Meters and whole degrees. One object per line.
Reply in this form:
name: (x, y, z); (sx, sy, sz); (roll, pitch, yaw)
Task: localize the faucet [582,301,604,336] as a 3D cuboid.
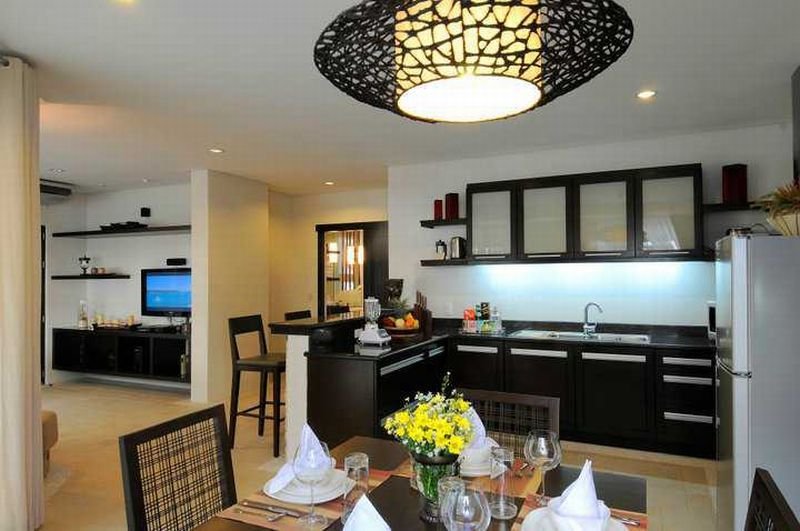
faucet: (2.086, 0.584, 5.984); (0.142, 0.357, 0.253); (4, 7, 44)

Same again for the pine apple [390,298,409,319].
pine apple: (-0.002, 0.429, 5.595); (0.184, 0.185, 0.177); (0, -6, -5)

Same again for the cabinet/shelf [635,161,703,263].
cabinet/shelf: (2.762, -0.577, 5.676); (0.582, 0.915, 0.355); (-3, 18, 21)

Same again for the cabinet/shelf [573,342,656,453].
cabinet/shelf: (2.304, 1.306, 5.811); (0.858, 1.013, 0.826); (-2, 2, 15)

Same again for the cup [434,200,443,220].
cup: (0.466, -0.659, 6.575); (0.108, 0.235, 0.163); (0, 5, 2)

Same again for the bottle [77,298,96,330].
bottle: (-4.835, 0.733, 8.485); (0.263, 0.395, 0.562); (-3, 5, -25)

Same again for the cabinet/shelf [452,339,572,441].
cabinet/shelf: (1.265, 1.270, 6.148); (1.356, 1.133, 0.461); (1, 17, 23)

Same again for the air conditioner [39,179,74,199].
air conditioner: (-5.027, -1.113, 8.110); (0.354, 0.229, 0.775); (-1, 4, -13)

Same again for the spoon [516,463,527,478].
spoon: (0.682, 1.146, 3.073); (0.026, 0.040, 0.112); (-8, 2, 26)

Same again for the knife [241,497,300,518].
knife: (-0.661, 1.244, 2.824); (0.328, 0.015, 0.054); (2, 3, 25)

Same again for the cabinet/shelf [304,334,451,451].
cabinet/shelf: (-0.172, 1.332, 5.562); (0.652, 1.256, 1.719); (14, 5, 28)

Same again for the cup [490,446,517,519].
cup: (0.528, 1.084, 2.791); (0.130, 0.340, 0.185); (0, 5, 10)

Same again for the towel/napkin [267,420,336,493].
towel/napkin: (-0.514, 1.014, 2.892); (0.319, 0.405, 0.138); (4, 3, -5)

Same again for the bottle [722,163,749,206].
bottle: (3.326, -0.793, 5.452); (0.232, 0.401, 0.305); (2, 6, 30)

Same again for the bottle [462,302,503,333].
bottle: (0.952, 0.596, 6.310); (0.456, 0.305, 0.420); (0, 5, 0)

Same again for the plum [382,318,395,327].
plum: (-0.105, 0.550, 5.401); (0.100, 0.044, 0.098); (2, -2, -26)

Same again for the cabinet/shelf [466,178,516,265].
cabinet/shelf: (1.108, -0.431, 6.420); (0.523, 0.865, 0.448); (-1, -4, 18)

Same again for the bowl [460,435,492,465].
bowl: (0.427, 1.030, 3.083); (0.182, 0.082, 0.151); (-5, -4, 2)

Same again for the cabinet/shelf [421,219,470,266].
cabinet/shelf: (0.591, -0.270, 6.619); (0.675, 0.536, 0.252); (-1, 2, 39)

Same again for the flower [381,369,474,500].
flower: (0.151, 0.881, 2.794); (0.427, 0.600, 0.273); (0, 5, 7)

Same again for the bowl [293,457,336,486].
bowl: (-0.406, 1.039, 2.807); (0.236, 0.130, 0.129); (-4, 6, -42)

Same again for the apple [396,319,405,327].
apple: (0.003, 0.566, 5.428); (0.084, 0.069, 0.070); (18, -20, -23)

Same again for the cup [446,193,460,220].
cup: (0.622, -0.692, 6.543); (0.160, 0.308, 0.222); (0, 5, 4)
